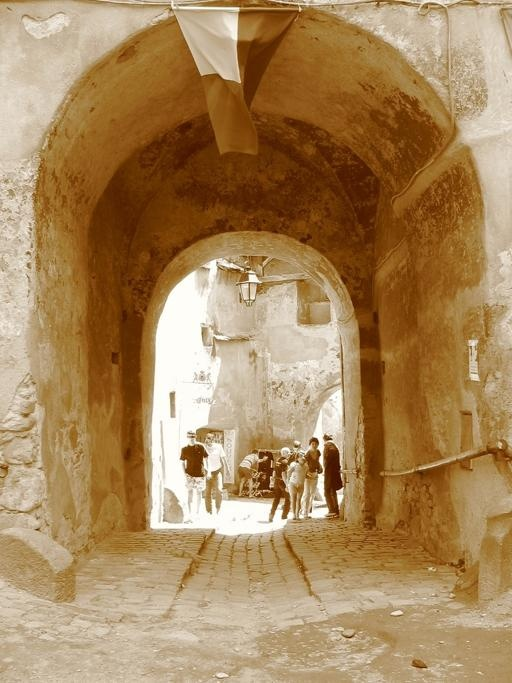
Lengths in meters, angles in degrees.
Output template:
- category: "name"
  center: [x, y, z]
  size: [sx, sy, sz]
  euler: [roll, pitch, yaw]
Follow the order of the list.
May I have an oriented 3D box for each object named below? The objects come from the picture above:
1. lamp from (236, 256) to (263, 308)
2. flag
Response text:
- category: "lamp"
  center: [-0.129, -1.066, 12.013]
  size: [0.419, 1.061, 0.439]
  euler: [6, -27, -14]
- category: "flag"
  center: [-0.125, -1.546, 4.083]
  size: [0.744, 0.898, 0.276]
  euler: [1, -8, -9]
